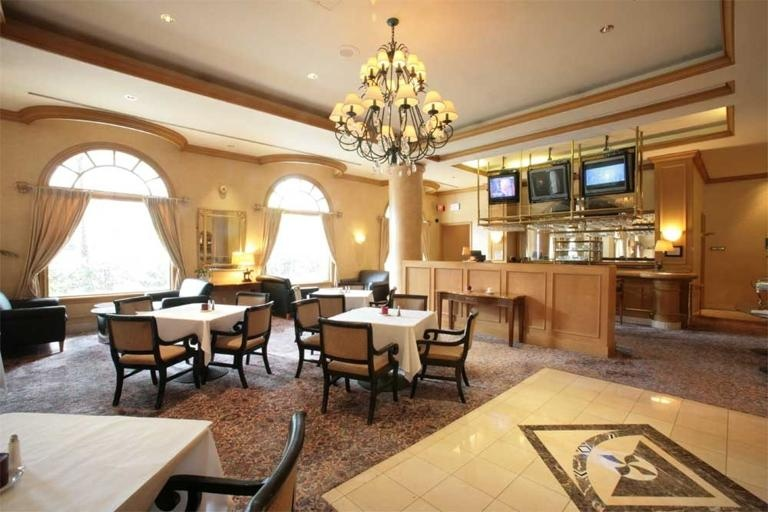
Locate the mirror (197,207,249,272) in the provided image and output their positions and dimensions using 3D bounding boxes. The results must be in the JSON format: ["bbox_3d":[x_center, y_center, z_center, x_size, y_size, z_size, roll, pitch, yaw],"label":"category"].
[{"bbox_3d":[-3.755,-0.367,11.159,0.126,1.902,1.618,-4,-4,44],"label":"mirror"}]

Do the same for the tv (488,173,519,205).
[{"bbox_3d":[2.735,-1.558,11.140,0.772,0.709,0.425,-2,-1,42],"label":"tv"}]

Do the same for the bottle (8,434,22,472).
[{"bbox_3d":[-3.358,1.759,4.436,0.094,0.325,0.214,-3,3,-36],"label":"bottle"}]

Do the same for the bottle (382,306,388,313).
[{"bbox_3d":[0.006,0.814,7.387,0.089,0.086,0.080,-1,1,-13],"label":"bottle"}]

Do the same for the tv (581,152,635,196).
[{"bbox_3d":[4.411,-1.601,9.593,0.942,0.717,0.514,-2,-2,41],"label":"tv"}]

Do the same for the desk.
[{"bbox_3d":[1.733,1.076,9.290,1.460,0.708,0.544,4,1,31],"label":"desk"}]

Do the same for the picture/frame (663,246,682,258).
[{"bbox_3d":[6.090,-0.110,10.285,0.266,0.171,0.019,1,5,37],"label":"picture/frame"}]

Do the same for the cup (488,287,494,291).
[{"bbox_3d":[2.006,0.622,9.261,0.082,0.069,0.080,0,-6,0],"label":"cup"}]
